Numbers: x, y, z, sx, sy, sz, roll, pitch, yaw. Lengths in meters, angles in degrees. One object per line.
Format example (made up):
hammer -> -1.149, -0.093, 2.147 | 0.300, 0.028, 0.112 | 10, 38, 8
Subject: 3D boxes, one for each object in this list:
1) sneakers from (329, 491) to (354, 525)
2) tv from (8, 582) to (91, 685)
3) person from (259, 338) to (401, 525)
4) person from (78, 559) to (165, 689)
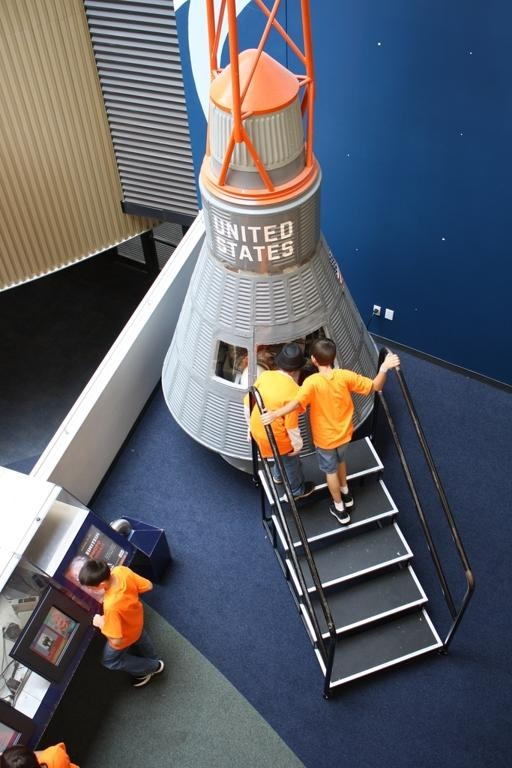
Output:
sneakers -> 0.577, 0.828, 3.446 | 0.096, 0.097, 0.237 | -3, 26, 3
tv -> -1.108, 1.359, 2.849 | 0.114, 0.476, 0.471 | 6, 61, 29
person -> 0.445, 0.326, 3.353 | 0.922, 1.290, 0.538 | -17, 42, -3
person -> -0.737, 1.336, 2.942 | 0.254, 0.952, 0.362 | 9, 34, 23
